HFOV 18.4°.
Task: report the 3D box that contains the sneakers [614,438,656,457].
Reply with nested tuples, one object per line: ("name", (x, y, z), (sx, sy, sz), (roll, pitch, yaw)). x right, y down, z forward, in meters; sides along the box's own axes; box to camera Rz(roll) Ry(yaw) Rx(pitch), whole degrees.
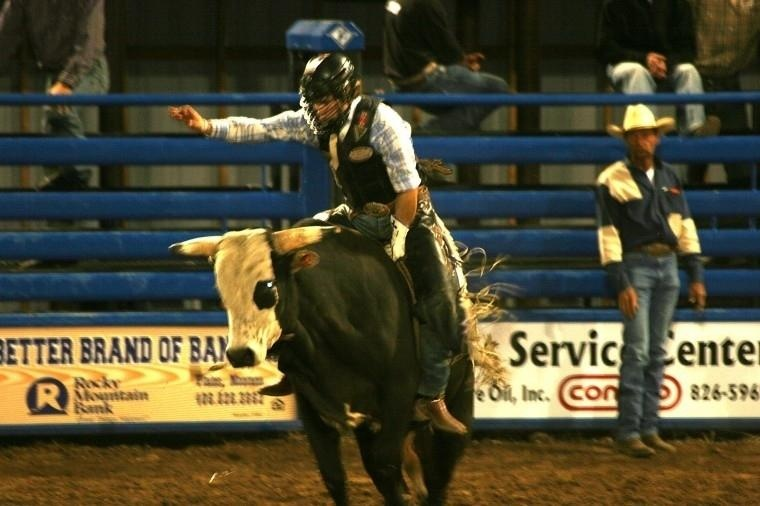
("sneakers", (2.135, 1.672, 20.026), (0.302, 0.107, 0.153), (1, 4, 23))

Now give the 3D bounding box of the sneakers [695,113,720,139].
("sneakers", (2.787, -1.071, 20.267), (0.149, 0.085, 0.230), (1, -20, -3))

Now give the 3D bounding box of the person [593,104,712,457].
("person", (2.276, 0.236, 20.092), (0.827, 2.985, 0.421), (-5, 6, -12))

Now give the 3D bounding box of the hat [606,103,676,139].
("hat", (2.243, -1.106, 20.173), (0.362, 0.125, 0.382), (-9, -7, 22))

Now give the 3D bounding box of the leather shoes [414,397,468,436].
("leather shoes", (0.433, 1.326, 19.248), (0.580, 0.237, 0.183), (19, 10, -3))
